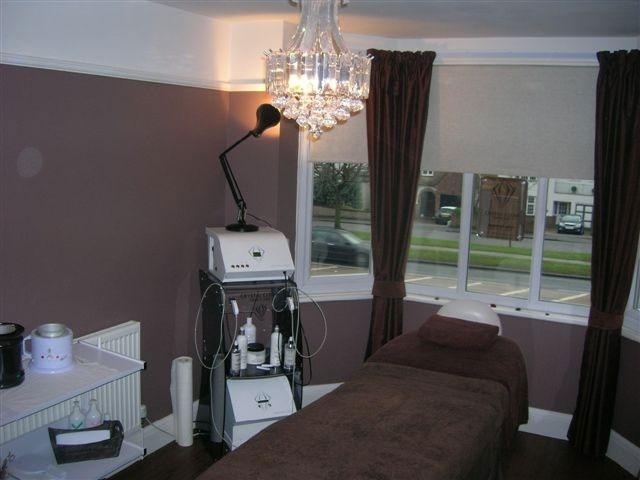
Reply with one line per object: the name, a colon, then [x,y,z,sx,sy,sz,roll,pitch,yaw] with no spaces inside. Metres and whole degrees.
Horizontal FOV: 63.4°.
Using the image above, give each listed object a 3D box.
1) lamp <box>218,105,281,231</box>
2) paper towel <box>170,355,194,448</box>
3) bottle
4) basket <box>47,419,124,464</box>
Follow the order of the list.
lamp: [-0.490,-0.522,3.665,0.429,0.873,0.581,-2,7,-9]
paper towel: [-0.955,1.139,3.646,0.158,0.562,0.120,-7,-14,10]
bottle: [-0.377,0.698,3.503,0.319,0.258,0.327,2,4,0]
basket: [-1.289,1.110,2.847,0.327,0.155,0.196,-3,16,-16]
